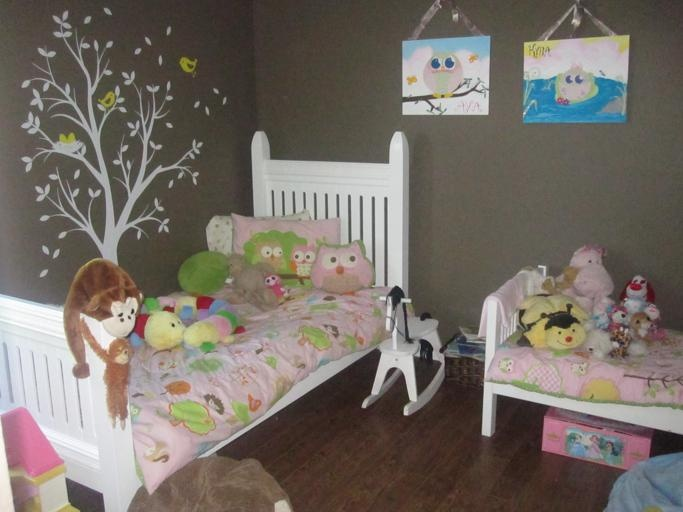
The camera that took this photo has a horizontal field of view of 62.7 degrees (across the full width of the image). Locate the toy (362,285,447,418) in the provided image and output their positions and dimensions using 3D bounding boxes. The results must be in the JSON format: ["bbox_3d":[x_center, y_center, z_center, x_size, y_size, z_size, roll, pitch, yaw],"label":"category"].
[{"bbox_3d":[0.384,0.610,3.506,0.218,0.547,0.570,4,21,23],"label":"toy"}]

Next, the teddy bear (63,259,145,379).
[{"bbox_3d":[-0.966,0.273,2.255,0.157,0.454,0.343,-17,-5,37],"label":"teddy bear"}]

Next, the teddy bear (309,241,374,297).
[{"bbox_3d":[-0.001,0.056,3.674,0.409,0.383,0.203,-3,19,1],"label":"teddy bear"}]
